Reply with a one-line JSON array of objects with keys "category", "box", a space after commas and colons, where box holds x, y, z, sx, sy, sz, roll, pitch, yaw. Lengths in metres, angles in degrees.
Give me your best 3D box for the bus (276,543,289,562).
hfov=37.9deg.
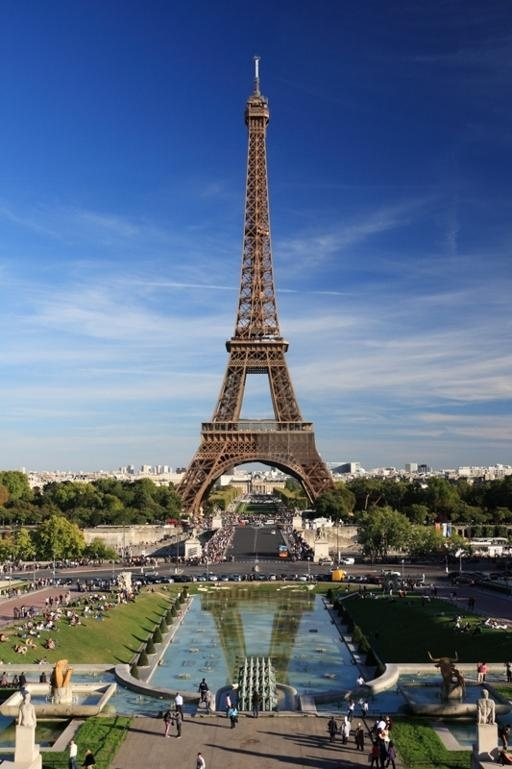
[{"category": "bus", "box": [3.266, 20.638, 90.846, 1.376, 1.075, 2.291, 0, -5, -2]}]
